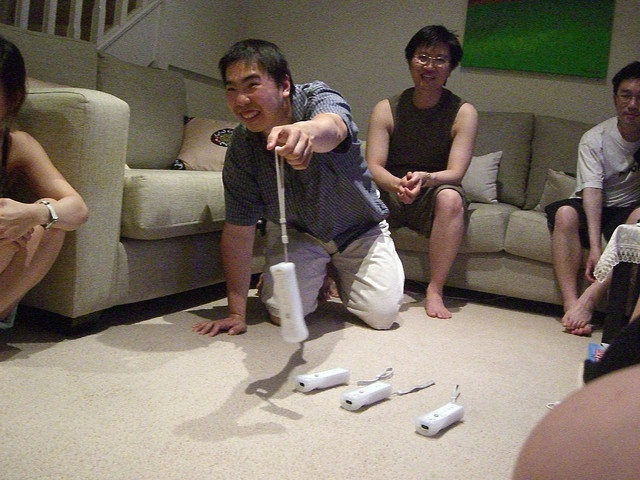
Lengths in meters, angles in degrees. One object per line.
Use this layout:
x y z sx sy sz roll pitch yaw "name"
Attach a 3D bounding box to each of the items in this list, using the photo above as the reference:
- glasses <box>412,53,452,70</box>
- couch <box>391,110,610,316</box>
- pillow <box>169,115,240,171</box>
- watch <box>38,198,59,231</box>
0.494 -0.799 2.193 0.158 0.059 0.061 5 12 5 "glasses"
0.779 -0.207 2.791 1.461 0.854 1.209 6 12 27 "couch"
-0.506 -0.517 2.653 0.451 0.336 0.116 -4 -23 -22 "pillow"
-0.762 -0.070 1.368 0.054 0.081 0.040 19 18 41 "watch"
